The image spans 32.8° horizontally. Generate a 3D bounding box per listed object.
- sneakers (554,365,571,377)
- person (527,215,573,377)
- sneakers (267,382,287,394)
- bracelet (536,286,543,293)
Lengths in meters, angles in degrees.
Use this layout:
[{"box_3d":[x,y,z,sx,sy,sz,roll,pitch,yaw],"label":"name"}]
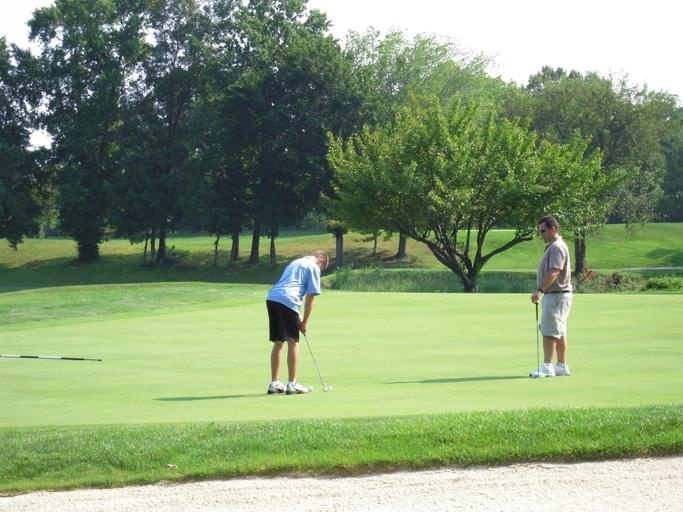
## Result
[{"box_3d":[5.981,3.107,31.257,0.213,0.213,0.480,0,4,-5],"label":"sneakers"},{"box_3d":[5.770,1.084,31.607,0.969,4.256,1.295,3,8,36],"label":"person"},{"box_3d":[-1.732,3.497,30.634,0.597,0.244,0.232,-2,3,-43],"label":"sneakers"},{"box_3d":[5.385,0.934,31.626,0.132,0.165,0.094,7,25,42],"label":"bracelet"}]
